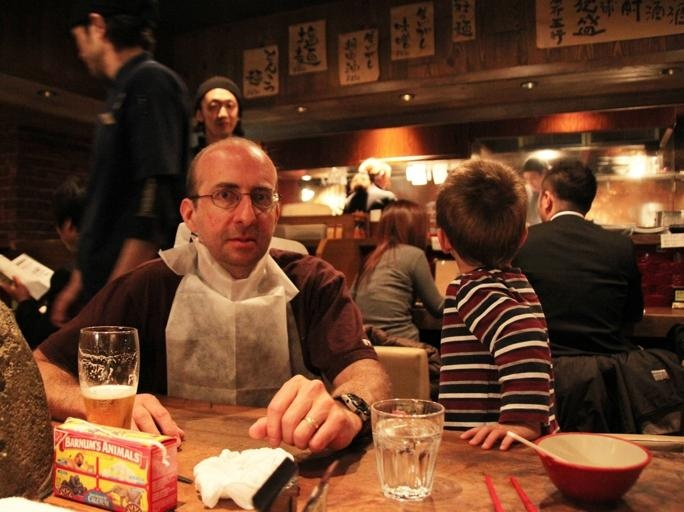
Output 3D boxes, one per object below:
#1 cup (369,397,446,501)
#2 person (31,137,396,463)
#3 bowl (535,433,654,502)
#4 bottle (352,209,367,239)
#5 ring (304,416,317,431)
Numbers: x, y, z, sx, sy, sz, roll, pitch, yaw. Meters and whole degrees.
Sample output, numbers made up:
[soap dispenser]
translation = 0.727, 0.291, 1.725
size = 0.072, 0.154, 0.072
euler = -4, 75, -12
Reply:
[cup]
translation = 0.157, 0.450, 1.513
size = 0.193, 0.224, 0.197
euler = 2, 2, 0
[person]
translation = -0.436, 0.163, 2.097
size = 1.221, 1.052, 0.838
euler = -2, -1, 9
[bowl]
translation = 0.586, 0.491, 1.418
size = 0.249, 0.120, 0.172
euler = 2, 2, 20
[bottle]
translation = 0.141, -0.288, 5.451
size = 0.054, 0.230, 0.168
euler = 2, -1, 29
[ring]
translation = -0.077, 0.421, 1.537
size = 0.012, 0.032, 0.027
euler = -43, 13, -26
